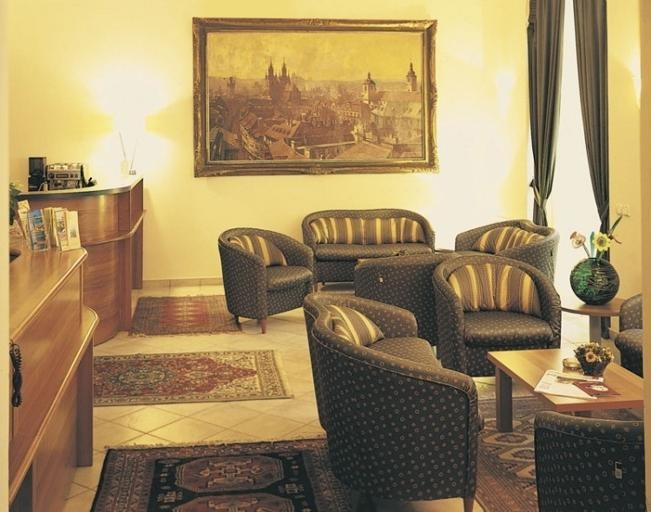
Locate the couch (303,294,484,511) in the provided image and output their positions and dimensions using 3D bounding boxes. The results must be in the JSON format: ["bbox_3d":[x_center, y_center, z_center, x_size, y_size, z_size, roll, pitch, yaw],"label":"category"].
[{"bbox_3d":[0.453,0.785,3.100,1.125,0.986,1.366,-1,9,-2],"label":"couch"}]

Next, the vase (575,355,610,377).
[{"bbox_3d":[1.523,0.615,3.053,0.132,0.062,0.126,-1,0,-20],"label":"vase"}]

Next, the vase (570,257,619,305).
[{"bbox_3d":[2.223,0.205,4.421,0.400,0.413,0.390,-1,-2,14],"label":"vase"}]

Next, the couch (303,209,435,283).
[{"bbox_3d":[0.591,-0.136,7.620,1.860,1.027,0.788,-2,13,-12],"label":"couch"}]

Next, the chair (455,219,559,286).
[{"bbox_3d":[2.132,-0.171,6.101,0.811,0.596,1.584,0,3,-11],"label":"chair"}]

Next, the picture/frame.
[{"bbox_3d":[-0.316,-2.417,7.821,2.640,1.479,0.103,0,2,-8],"label":"picture/frame"}]

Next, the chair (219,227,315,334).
[{"bbox_3d":[-0.700,0.208,6.181,1.033,0.949,0.920,-8,12,-43],"label":"chair"}]

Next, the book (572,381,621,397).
[{"bbox_3d":[1.449,0.714,2.869,0.180,0.012,0.189,-2,9,-10],"label":"book"}]

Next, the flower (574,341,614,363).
[{"bbox_3d":[1.558,0.544,3.112,0.193,0.094,0.199,2,5,27],"label":"flower"}]

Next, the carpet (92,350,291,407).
[{"bbox_3d":[-1.175,1.008,4.575,1.690,0.047,1.152,-1,9,-6],"label":"carpet"}]

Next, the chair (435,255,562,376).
[{"bbox_3d":[1.323,0.440,4.379,0.993,0.874,0.877,0,-2,-6],"label":"chair"}]
